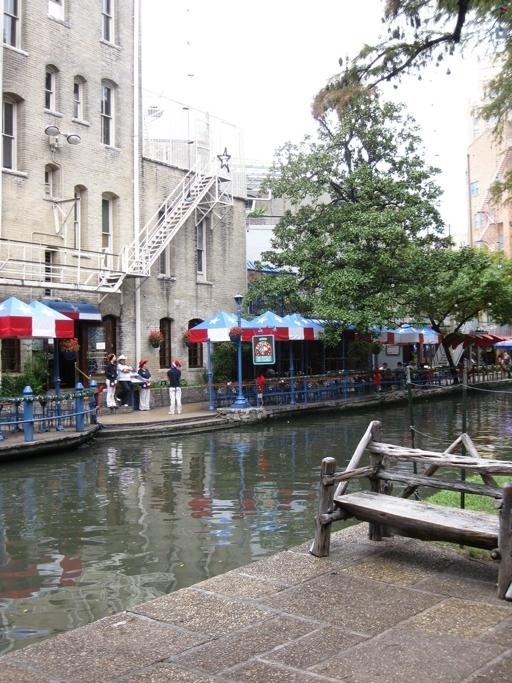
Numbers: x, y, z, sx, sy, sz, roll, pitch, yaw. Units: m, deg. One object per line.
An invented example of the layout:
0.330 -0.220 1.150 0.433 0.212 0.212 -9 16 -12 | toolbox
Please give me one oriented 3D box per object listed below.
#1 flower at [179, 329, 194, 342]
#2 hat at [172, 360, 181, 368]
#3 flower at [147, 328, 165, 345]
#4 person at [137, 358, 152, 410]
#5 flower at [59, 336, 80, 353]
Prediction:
-2.452 -0.178 28.923 0.486 0.488 0.442 -11 0 -25 | flower
-2.577 0.730 26.488 0.381 0.227 0.499 9 -4 -22 | hat
-3.479 -0.094 28.702 0.555 0.504 0.524 0 -5 7 | flower
-3.488 1.393 25.479 0.424 1.508 1.405 -7 -1 -9 | person
-5.188 0.098 22.670 0.486 0.349 0.449 0 6 -4 | flower
